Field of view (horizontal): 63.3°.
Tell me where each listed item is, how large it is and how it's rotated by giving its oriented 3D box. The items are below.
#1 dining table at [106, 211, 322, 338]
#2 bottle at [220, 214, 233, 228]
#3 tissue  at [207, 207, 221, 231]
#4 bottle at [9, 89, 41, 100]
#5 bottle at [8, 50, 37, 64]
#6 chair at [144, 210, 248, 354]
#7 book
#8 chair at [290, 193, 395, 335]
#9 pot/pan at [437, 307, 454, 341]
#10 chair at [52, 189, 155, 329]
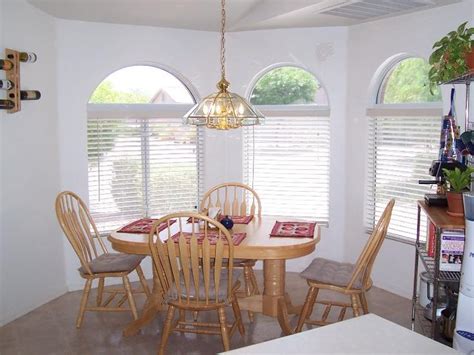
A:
[{"bbox_3d":[0.142,0.729,3.022,1.489,0.673,0.995,-1,0,13],"label":"dining table"},{"bbox_3d":[-0.087,0.378,3.256,0.105,0.104,0.105,-1,-4,3],"label":"bottle"},{"bbox_3d":[-0.192,0.336,3.225,0.101,0.171,0.051,3,-2,-9],"label":"tissue "},{"bbox_3d":[-1.936,-0.761,3.540,0.127,0.095,0.358,3,10,17],"label":"bottle"},{"bbox_3d":[-1.936,-1.098,3.511,0.166,0.091,0.340,-1,10,-4],"label":"bottle"},{"bbox_3d":[-0.292,0.780,3.000,0.711,1.190,0.877,-2,11,-9],"label":"chair"},{"bbox_3d":[1.425,0.462,2.648,0.163,0.312,0.354,3,11,18],"label":"book"},{"bbox_3d":[0.843,0.757,3.133,0.733,1.142,0.645,5,6,34],"label":"chair"},{"bbox_3d":[1.536,1.073,2.795,0.158,0.162,0.124,10,11,44],"label":"pot/pan"},{"bbox_3d":[-1.137,0.715,3.421,0.821,1.076,0.688,-1,6,-19],"label":"chair"}]
